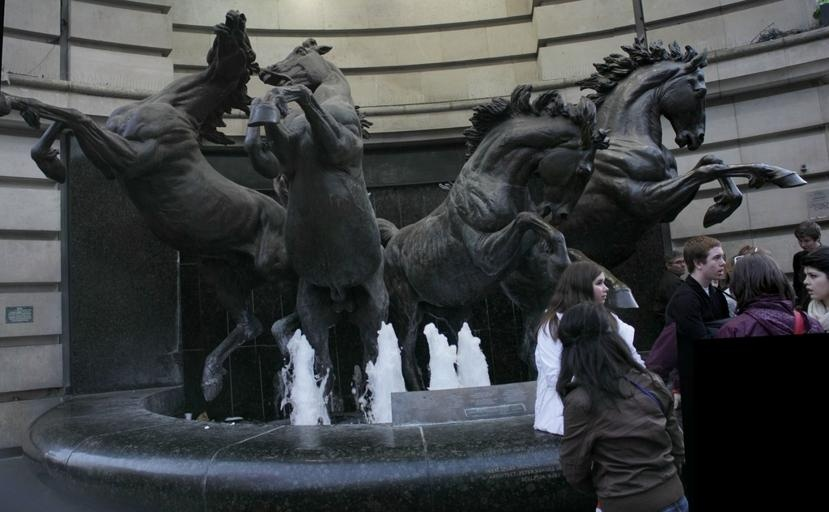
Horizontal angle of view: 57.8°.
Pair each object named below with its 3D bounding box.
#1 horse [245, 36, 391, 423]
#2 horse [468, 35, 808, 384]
[{"bbox_3d":[-1.077,-0.320,8.624,1.270,4.511,1.887,-6,7,2],"label":"horse"},{"bbox_3d":[2.680,-1.185,10.229,4.176,3.236,1.041,-10,4,15],"label":"horse"}]
